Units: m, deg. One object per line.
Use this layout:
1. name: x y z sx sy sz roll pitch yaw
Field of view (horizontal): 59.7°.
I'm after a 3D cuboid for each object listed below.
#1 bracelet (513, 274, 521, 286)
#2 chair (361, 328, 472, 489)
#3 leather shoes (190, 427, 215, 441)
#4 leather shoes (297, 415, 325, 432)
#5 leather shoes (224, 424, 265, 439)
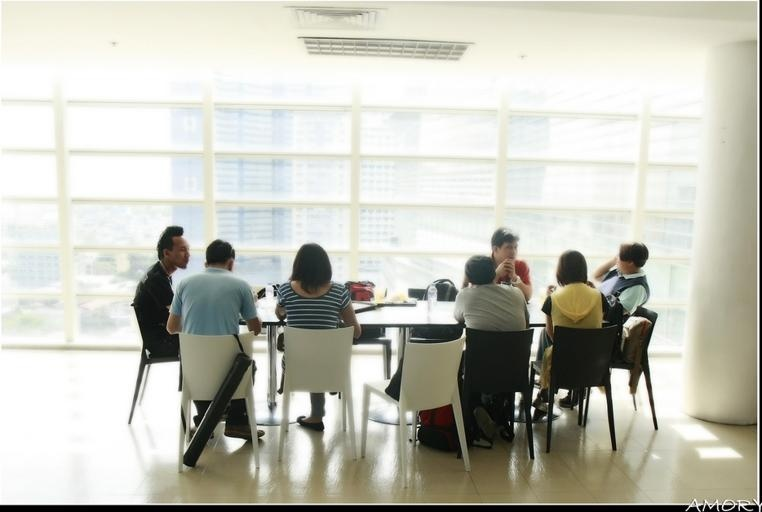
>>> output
1. bracelet: 1.319 0.246 6.458 0.072 0.089 0.038 2 -35 -3
2. chair: 0.294 1.214 5.432 0.892 1.141 0.663 2 5 7
3. leather shoes: -1.433 1.456 5.374 0.176 0.168 0.066 -1 21 7
4. leather shoes: -0.614 1.509 5.926 0.267 0.095 0.097 11 5 28
5. leather shoes: -1.184 1.519 5.746 0.367 0.145 0.140 1 0 -11
